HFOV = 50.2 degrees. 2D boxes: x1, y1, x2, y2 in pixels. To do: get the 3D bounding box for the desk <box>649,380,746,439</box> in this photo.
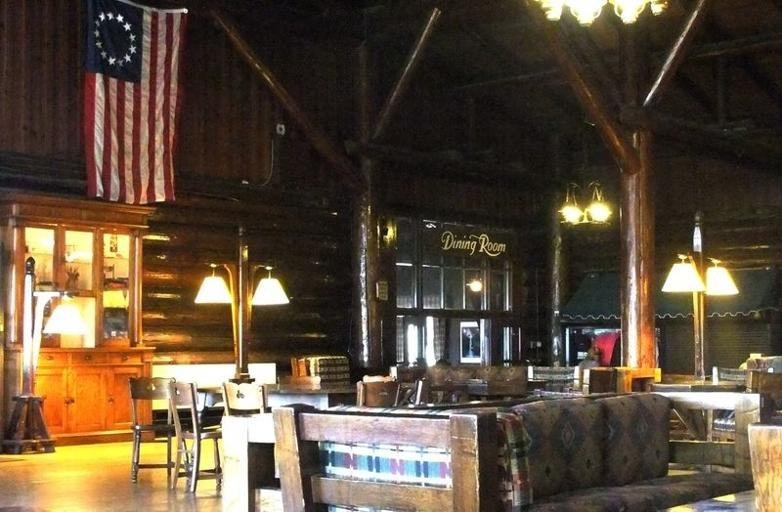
[{"bbox_3d":[2.920,1.467,7.956,0.802,0.559,1.207,-2,-8,25],"label":"desk"}]
